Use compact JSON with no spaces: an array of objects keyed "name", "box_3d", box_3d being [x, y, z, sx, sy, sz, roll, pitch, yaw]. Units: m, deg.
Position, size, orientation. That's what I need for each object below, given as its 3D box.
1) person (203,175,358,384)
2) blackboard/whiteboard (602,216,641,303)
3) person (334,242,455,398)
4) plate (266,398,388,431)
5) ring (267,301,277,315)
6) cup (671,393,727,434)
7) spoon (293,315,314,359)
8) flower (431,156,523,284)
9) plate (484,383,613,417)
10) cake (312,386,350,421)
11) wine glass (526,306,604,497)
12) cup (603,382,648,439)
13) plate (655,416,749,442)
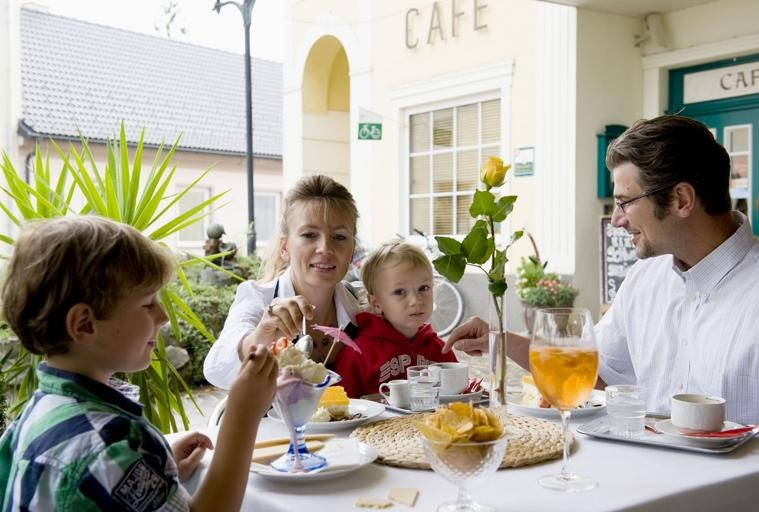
[{"name":"person","box_3d":[-0.405,0.067,2.548,0.543,1.097,0.574,-9,9,-36]},{"name":"blackboard/whiteboard","box_3d":[1.707,0.016,4.288,0.182,0.810,0.353,1,7,22]},{"name":"person","box_3d":[0.046,0.289,2.702,0.402,0.776,0.382,-3,9,-31]},{"name":"plate","box_3d":[-0.182,0.480,2.027,0.231,0.082,0.347,2,1,41]},{"name":"ring","box_3d":[-0.382,0.183,2.155,0.016,0.050,0.035,-2,1,3]},{"name":"cup","box_3d":[0.915,0.431,1.787,0.129,0.103,0.133,-17,5,2]},{"name":"spoon","box_3d":[-0.241,0.269,1.934,0.074,0.038,0.243,-3,20,-6]},{"name":"flower","box_3d":[0.364,-0.115,2.117,0.256,0.451,0.877,2,9,13]},{"name":"plate","box_3d":[0.586,0.470,2.117,0.344,0.099,0.278,-3,6,-24]},{"name":"cake","box_3d":[-0.156,0.471,1.936,0.108,0.043,0.121,0,6,5]},{"name":"wine glass","box_3d":[0.478,0.362,1.596,0.194,0.434,0.188,1,-3,-19]},{"name":"cup","box_3d":[0.737,0.452,1.807,0.108,0.141,0.104,0,-1,0]},{"name":"plate","box_3d":[0.937,0.486,1.776,0.177,0.047,0.190,0,1,-14]}]
